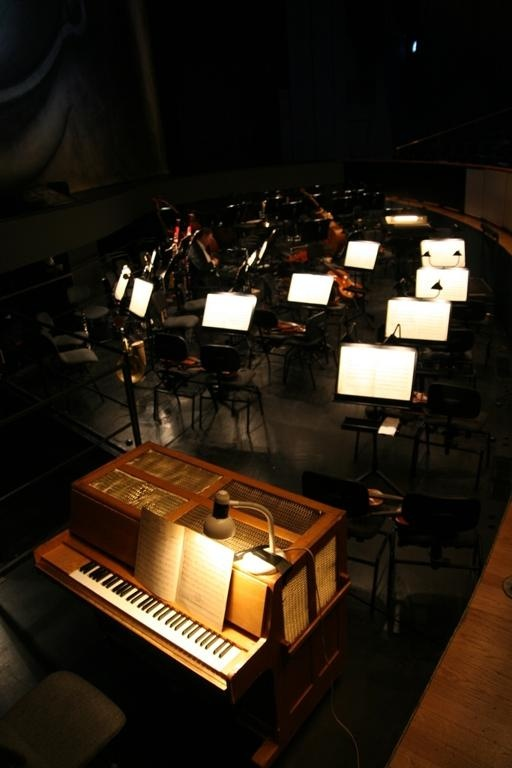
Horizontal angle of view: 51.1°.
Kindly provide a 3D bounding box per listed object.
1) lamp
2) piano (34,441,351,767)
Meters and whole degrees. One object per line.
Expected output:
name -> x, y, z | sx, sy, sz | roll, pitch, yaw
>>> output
lamp -> -0.029, 0.567, 2.092 | 0.323, 0.318, 0.232 | 0, 10, -2
piano -> -0.282, 0.885, 2.627 | 1.272, 1.473, 0.924 | 16, 27, 37
